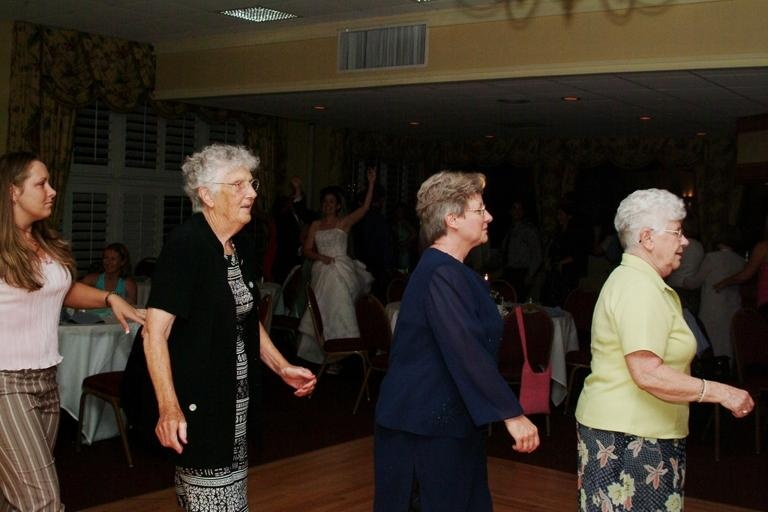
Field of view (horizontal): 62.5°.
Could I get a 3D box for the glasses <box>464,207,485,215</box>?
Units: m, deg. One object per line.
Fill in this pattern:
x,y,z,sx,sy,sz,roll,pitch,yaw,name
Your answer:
0.417,-0.201,2.812,0.038,0.030,0.122,4,9,40,glasses
